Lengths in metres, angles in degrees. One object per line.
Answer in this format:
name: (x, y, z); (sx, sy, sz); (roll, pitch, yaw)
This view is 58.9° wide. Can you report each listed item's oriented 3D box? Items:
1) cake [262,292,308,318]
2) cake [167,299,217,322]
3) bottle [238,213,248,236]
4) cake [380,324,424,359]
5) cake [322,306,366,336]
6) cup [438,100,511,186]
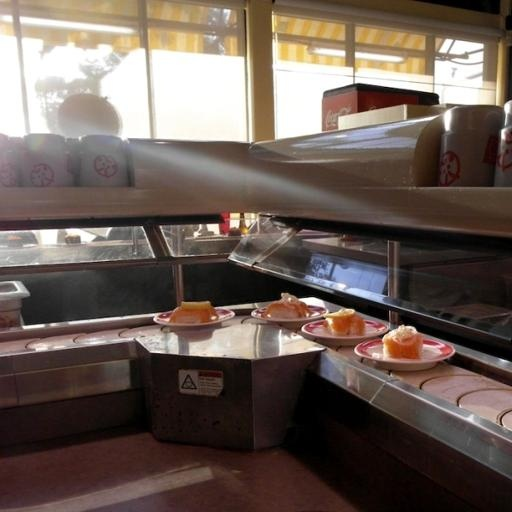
cake: (0.100, 0.149, 1.409); (0.099, 0.046, 0.089); (0, 1, 9)
cake: (-0.191, 0.168, 1.336); (0.118, 0.050, 0.070); (-9, 11, -19)
bottle: (-0.037, -0.084, 1.179); (0.019, 0.060, 0.051); (-10, 11, -10)
cake: (0.334, 0.194, 1.019); (0.092, 0.055, 0.079); (-12, 12, -31)
cake: (0.239, 0.173, 1.219); (0.075, 0.029, 0.074); (0, 14, 1)
cup: (0.254, -0.130, 0.535); (0.069, 0.094, 0.060); (-1, 12, 26)
